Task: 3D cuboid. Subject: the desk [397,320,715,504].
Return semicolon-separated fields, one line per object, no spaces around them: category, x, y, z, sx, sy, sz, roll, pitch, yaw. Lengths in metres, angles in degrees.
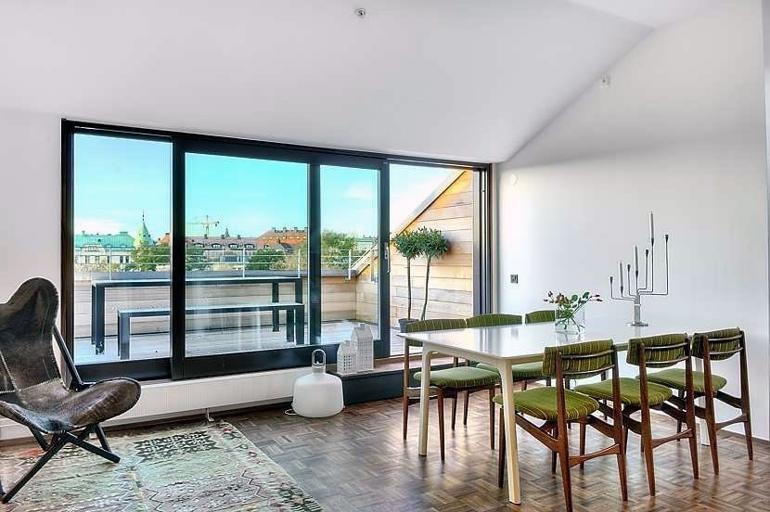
desk;1.229;0.934;4.267;1.568;0.932;1.608;-1;2;-28

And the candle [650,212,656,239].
candle;2.735;-0.321;5.162;0.059;0.282;0.170;3;7;27

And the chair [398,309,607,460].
chair;0.837;1.072;4.331;1.175;0.774;1.341;-2;4;-32

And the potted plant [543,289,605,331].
potted plant;1.594;0.445;4.223;0.304;0.237;0.373;-10;4;-23

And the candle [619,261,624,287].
candle;2.506;0.217;5.347;0.049;0.305;0.251;3;7;25
